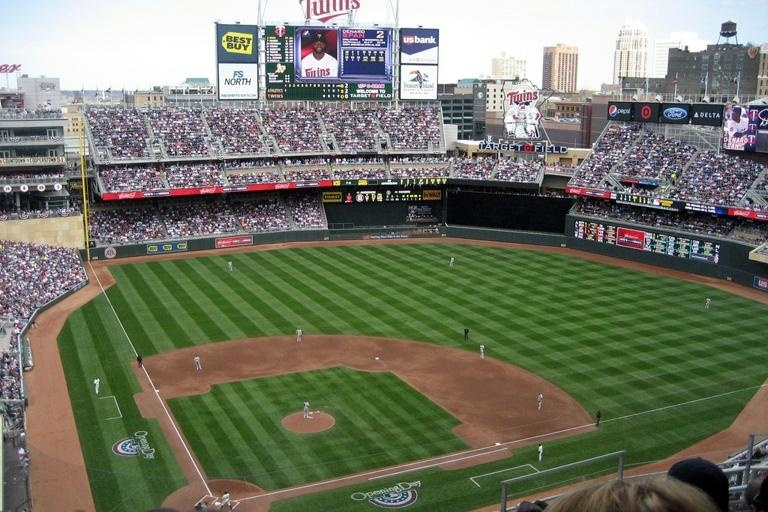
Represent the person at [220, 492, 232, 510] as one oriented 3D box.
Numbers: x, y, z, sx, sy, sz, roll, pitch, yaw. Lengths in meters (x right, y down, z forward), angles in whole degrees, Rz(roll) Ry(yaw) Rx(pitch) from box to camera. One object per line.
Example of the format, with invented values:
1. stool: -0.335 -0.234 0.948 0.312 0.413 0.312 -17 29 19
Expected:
1. person: -8.423 13.015 36.136 0.467 0.621 1.191 4 26 -3
